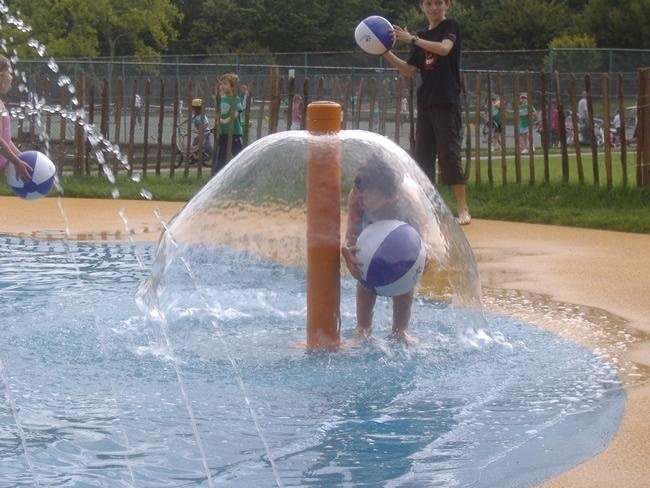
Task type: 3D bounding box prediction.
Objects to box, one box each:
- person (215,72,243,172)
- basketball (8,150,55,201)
[{"bbox_3d":[-1.507,-1.776,15.093,0.506,1.674,0.501,8,18,23],"label":"person"},{"bbox_3d":[-2.674,-0.614,9.003,0.308,0.487,0.351,5,3,18],"label":"basketball"}]
